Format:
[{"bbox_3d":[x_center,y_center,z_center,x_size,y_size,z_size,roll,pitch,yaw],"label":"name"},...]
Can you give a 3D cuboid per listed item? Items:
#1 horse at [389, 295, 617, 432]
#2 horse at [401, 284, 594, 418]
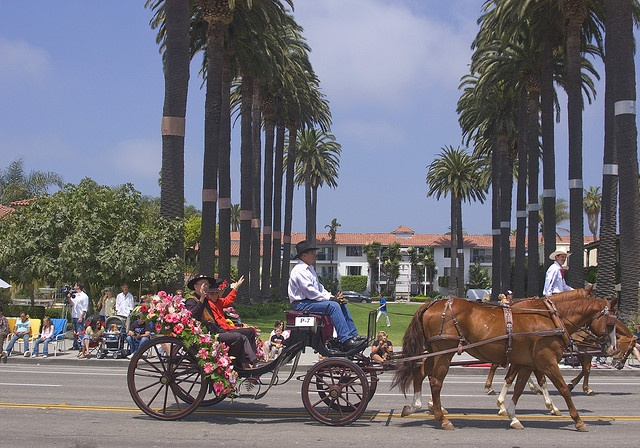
[{"bbox_3d":[7.057,5.323,44.623,8.068,5.163,1.396,-2,2,1],"label":"horse"},{"bbox_3d":[7.123,5.330,45.683,10.730,4.580,3.909,-3,-3,0],"label":"horse"}]
